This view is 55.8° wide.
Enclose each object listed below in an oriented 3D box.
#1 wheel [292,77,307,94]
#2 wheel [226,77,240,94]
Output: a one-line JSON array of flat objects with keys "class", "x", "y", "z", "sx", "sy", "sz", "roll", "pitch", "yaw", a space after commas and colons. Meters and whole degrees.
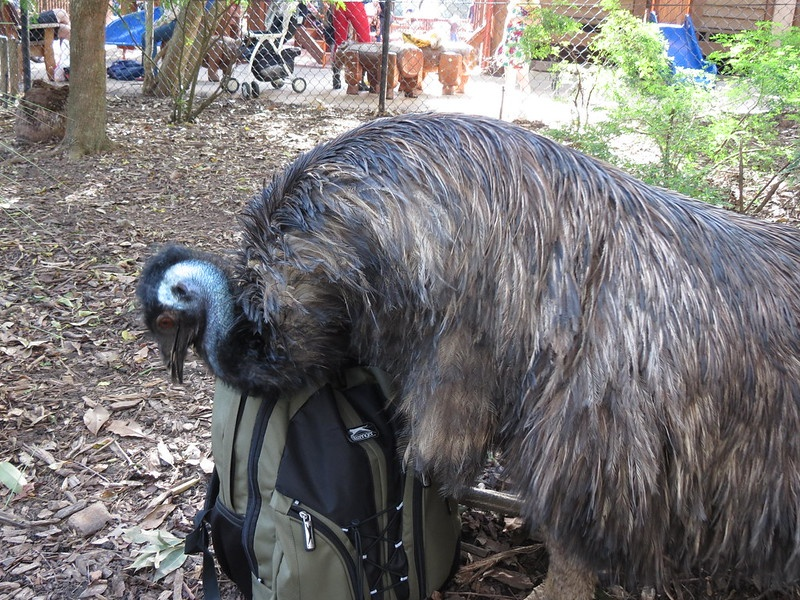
[{"class": "wheel", "x": -1.349, "y": -2.929, "z": 10.160, "sx": 0.070, "sy": 0.257, "sz": 0.239, "roll": 9, "pitch": 6, "yaw": 44}, {"class": "wheel", "x": -2.156, "y": -2.786, "z": 9.802, "sx": 0.165, "sy": 0.207, "sz": 0.400, "roll": 1, "pitch": 13, "yaw": -7}]
